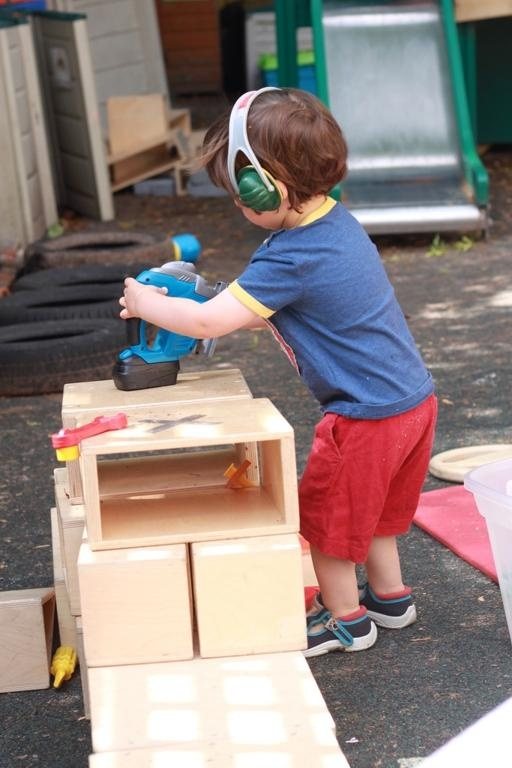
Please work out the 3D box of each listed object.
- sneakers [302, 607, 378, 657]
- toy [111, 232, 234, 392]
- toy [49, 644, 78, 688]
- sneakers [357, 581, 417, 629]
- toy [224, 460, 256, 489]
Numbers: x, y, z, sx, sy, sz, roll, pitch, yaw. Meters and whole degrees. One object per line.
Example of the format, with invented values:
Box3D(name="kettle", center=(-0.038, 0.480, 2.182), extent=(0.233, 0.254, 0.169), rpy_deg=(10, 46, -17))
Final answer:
Box3D(name="sneakers", center=(0.134, 0.458, 1.380), extent=(0.190, 0.078, 0.070), rpy_deg=(-3, 0, -10))
Box3D(name="toy", center=(-0.173, -0.133, 1.435), extent=(0.088, 0.289, 0.230), rpy_deg=(19, 17, 41))
Box3D(name="toy", center=(-0.350, 0.504, 1.331), extent=(0.033, 0.026, 0.062), rpy_deg=(-4, 34, 15))
Box3D(name="sneakers", center=(0.255, 0.431, 1.436), extent=(0.137, 0.058, 0.073), rpy_deg=(8, 19, -12))
Box3D(name="toy", center=(-0.030, 0.165, 1.364), extent=(0.047, 0.045, 0.055), rpy_deg=(-22, -7, -1))
